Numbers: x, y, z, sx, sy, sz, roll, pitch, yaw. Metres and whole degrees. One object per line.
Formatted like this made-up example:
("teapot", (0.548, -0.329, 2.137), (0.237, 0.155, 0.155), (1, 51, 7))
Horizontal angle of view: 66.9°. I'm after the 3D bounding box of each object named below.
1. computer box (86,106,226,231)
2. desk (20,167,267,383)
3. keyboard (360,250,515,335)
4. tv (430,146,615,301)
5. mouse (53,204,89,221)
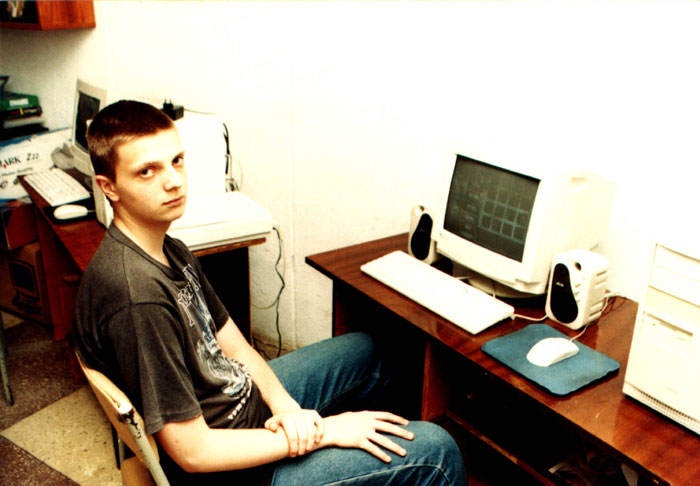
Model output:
("computer box", (-0.854, -0.358, 2.383), (0.529, 0.476, 0.489), (-9, 15, -25))
("desk", (-0.722, 0.078, 1.908), (0.487, 0.642, 0.932), (-12, 26, -36))
("keyboard", (0.331, 0.182, 1.961), (0.222, 0.058, 0.568), (-30, 40, -33))
("tv", (0.661, -0.139, 2.196), (0.532, 0.642, 0.735), (-7, 17, -37))
("mouse", (-1.266, -0.149, 2.404), (0.126, 0.041, 0.073), (-12, 32, -23))
